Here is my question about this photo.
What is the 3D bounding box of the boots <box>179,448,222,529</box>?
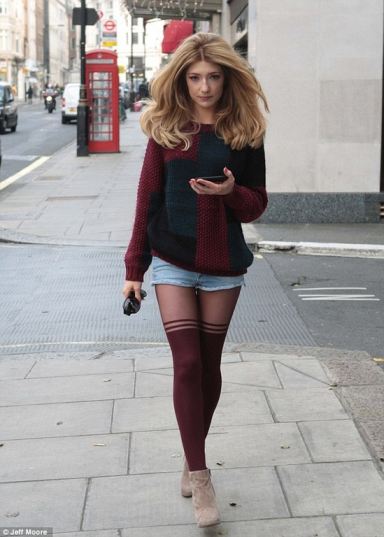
[{"bbox_3d":[0.011,0.731,1.911,0.090,0.107,0.278,-9,4,-7],"label":"boots"}]

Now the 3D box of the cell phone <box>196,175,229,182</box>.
[{"bbox_3d":[0.063,-0.275,1.761,0.089,0.024,0.162,-1,7,4],"label":"cell phone"}]

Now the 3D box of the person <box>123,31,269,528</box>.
[{"bbox_3d":[-0.025,-0.020,1.997,0.504,1.602,0.622,0,7,21],"label":"person"}]
